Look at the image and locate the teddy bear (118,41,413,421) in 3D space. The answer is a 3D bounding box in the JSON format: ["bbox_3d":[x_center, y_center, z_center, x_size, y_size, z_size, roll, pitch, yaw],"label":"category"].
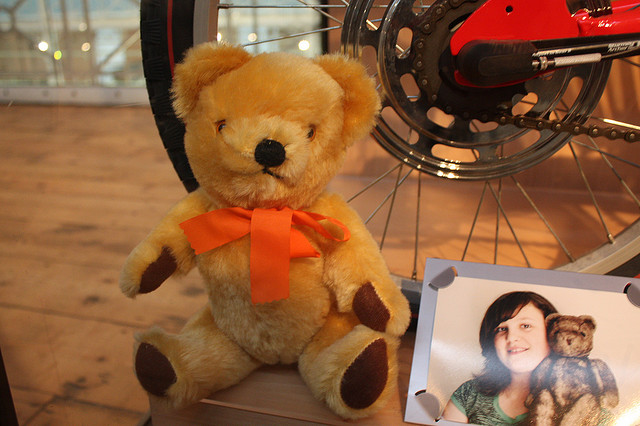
[{"bbox_3d":[-0.104,0.050,1.207,0.678,0.795,0.398,11,22,11],"label":"teddy bear"}]
